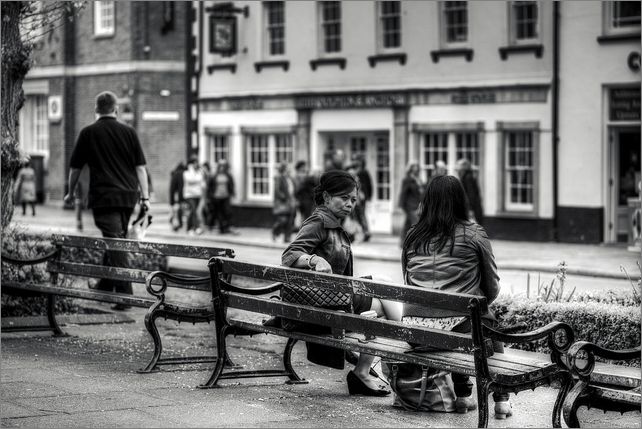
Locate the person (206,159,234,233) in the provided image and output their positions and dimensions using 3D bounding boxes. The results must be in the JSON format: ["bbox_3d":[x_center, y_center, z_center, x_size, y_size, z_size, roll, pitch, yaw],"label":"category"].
[{"bbox_3d":[-2.613,-0.433,28.056,0.689,1.905,0.633,-1,7,2],"label":"person"}]

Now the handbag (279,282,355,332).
[{"bbox_3d":[-0.063,0.924,11.186,0.593,0.506,0.438,5,6,6],"label":"handbag"}]

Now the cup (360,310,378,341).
[{"bbox_3d":[0.510,1.109,10.912,0.200,0.428,0.226,0,2,11],"label":"cup"}]

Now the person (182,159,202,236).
[{"bbox_3d":[-3.327,-0.391,28.019,0.574,1.829,0.775,-1,7,-2],"label":"person"}]

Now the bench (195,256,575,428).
[{"bbox_3d":[0.564,1.233,10.594,3.674,1.390,0.770,3,8,28],"label":"bench"}]
